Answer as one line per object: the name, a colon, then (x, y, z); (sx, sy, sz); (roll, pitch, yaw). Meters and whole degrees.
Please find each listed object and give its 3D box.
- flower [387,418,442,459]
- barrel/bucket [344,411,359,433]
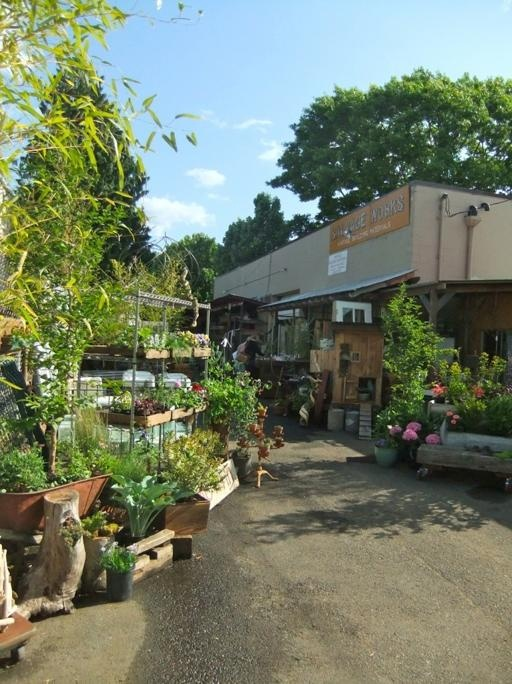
flower: (2.059, 1.329, 7.636); (0.534, 0.457, 0.677); (3, -1, -29)
barrel/bucket: (1.759, 1.483, 10.647); (0.254, 0.370, 0.387); (2, -1, 6)
